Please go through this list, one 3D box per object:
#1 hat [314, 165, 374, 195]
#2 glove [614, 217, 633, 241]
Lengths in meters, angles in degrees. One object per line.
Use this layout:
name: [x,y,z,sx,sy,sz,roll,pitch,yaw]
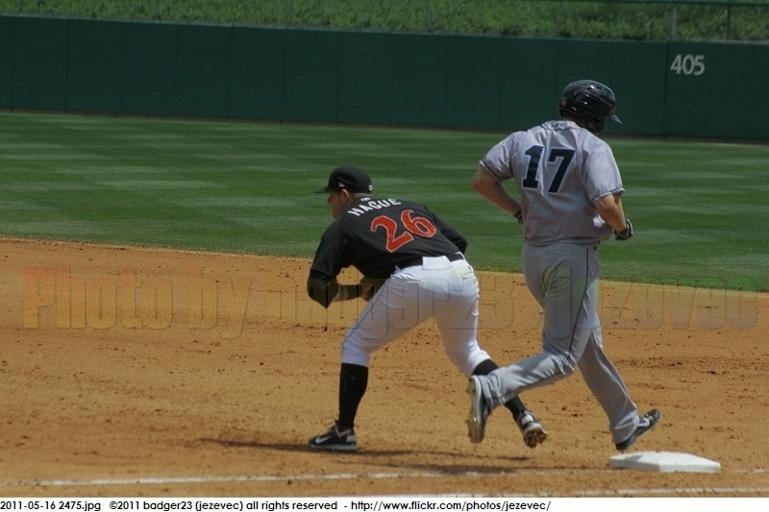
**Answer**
hat: [-0.531,-1.205,24.277,0.634,0.341,0.451,4,6,15]
glove: [3.648,-0.464,24.092,0.172,0.216,0.518,5,27,23]
